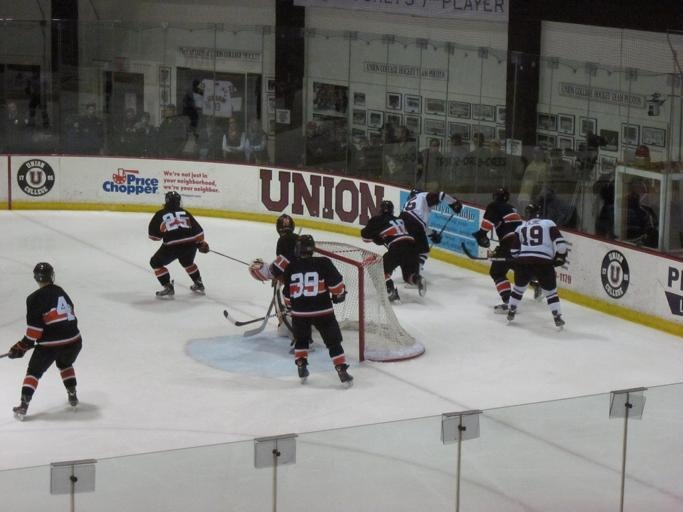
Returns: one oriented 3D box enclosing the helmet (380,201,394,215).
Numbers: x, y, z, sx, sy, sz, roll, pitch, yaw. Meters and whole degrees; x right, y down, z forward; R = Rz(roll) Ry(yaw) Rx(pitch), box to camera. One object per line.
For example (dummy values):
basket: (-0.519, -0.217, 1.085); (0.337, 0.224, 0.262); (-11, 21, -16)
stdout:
helmet: (0.632, -0.650, 13.801); (0.173, 0.193, 0.200); (2, 25, -4)

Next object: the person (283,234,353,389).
person: (-0.241, 0.598, 10.740); (0.788, 1.642, 0.447); (2, 10, -1)

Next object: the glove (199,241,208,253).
glove: (-1.903, -0.122, 13.591); (0.100, 0.125, 0.123); (15, 44, 28)

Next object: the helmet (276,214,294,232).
helmet: (-0.693, -0.405, 12.028); (0.205, 0.250, 0.240); (-1, -32, -9)

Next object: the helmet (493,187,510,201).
helmet: (2.178, -0.841, 13.602); (0.228, 0.226, 0.199); (2, -4, 24)

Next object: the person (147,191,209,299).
person: (-2.238, -0.153, 13.584); (0.767, 1.450, 0.462); (0, 10, -11)

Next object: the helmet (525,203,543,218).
helmet: (2.471, -0.575, 12.784); (0.158, 0.203, 0.213); (0, -3, -1)

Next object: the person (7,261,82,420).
person: (-3.006, 0.875, 10.081); (0.675, 1.522, 0.548); (1, 10, -7)

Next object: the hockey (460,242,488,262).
hockey: (1.848, -0.032, 14.075); (0.344, 0.086, 0.369); (40, -3, -7)

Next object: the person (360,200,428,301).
person: (0.713, -0.058, 13.633); (0.903, 1.333, 0.742); (2, 10, 0)

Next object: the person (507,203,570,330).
person: (2.531, 0.122, 12.666); (0.725, 1.520, 0.745); (4, 10, 12)

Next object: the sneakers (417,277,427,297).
sneakers: (1.075, 0.428, 13.579); (0.102, 0.274, 0.118); (-7, 4, -22)

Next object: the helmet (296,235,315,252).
helmet: (-0.381, -0.134, 10.651); (0.150, 0.195, 0.195); (-1, 13, -10)

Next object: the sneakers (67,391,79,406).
sneakers: (-2.761, 1.472, 10.186); (0.074, 0.142, 0.201); (-2, 14, -9)

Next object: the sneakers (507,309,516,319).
sneakers: (2.172, 0.743, 12.682); (0.093, 0.166, 0.100); (-8, 19, -27)

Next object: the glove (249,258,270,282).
glove: (-0.968, 0.160, 11.570); (0.215, 0.273, 0.364); (0, 10, -12)

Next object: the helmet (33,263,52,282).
helmet: (-3.075, 0.187, 10.199); (0.177, 0.210, 0.218); (2, 19, -11)

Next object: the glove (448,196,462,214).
glove: (1.660, -0.753, 14.407); (0.168, 0.110, 0.273); (6, -23, 24)
